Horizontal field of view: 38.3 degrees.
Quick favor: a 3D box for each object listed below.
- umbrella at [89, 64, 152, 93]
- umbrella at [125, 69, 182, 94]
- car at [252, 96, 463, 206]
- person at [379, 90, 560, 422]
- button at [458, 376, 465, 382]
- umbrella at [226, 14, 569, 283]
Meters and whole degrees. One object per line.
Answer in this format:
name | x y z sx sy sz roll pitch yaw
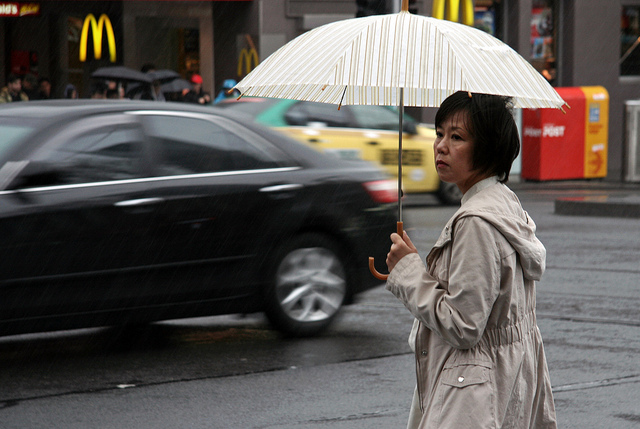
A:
umbrella | -3.503 -2.377 16.427 1.264 0.437 0.561 6 12 30
umbrella | -3.276 -2.650 18.230 0.961 0.342 0.425 -13 14 -38
car | 0.505 -1.097 16.235 5.159 2.011 2.134 -1 2 -18
person | 0.849 0.288 5.106 0.960 1.893 0.586 2 9 9
button | 0.768 0.899 4.997 0.025 0.028 0.006 -2 -7 15
umbrella | 0.574 -0.432 6.169 1.836 1.681 1.934 0 -3 10
